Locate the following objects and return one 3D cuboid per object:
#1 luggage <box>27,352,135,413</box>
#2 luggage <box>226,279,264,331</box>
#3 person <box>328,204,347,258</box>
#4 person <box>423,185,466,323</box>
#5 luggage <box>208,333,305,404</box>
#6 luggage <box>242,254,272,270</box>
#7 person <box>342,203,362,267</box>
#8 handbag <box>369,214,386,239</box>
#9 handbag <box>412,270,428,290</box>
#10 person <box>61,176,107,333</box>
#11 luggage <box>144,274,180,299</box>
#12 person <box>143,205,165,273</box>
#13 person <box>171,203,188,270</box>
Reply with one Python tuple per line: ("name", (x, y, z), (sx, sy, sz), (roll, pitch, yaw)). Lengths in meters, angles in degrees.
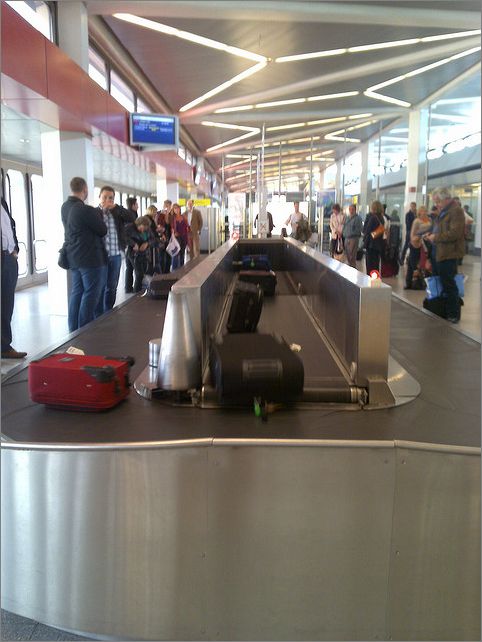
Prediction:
("luggage", (-0.565, 0.153, 1.642), (0.242, 0.202, 0.199), (6, 8, 9))
("luggage", (0.019, -0.086, 2.846), (0.149, 0.391, 0.243), (2, 28, -17))
("person", (2.331, -2.203, 11.549), (0.275, 1.403, 0.353), (3, 37, 17))
("person", (2.313, -0.740, 5.411), (0.424, 1.534, 0.509), (4, 8, 29))
("luggage", (0.044, 0.190, 1.777), (0.316, 0.183, 0.451), (0, 9, -5))
("luggage", (0.192, -0.792, 6.372), (0.341, 0.182, 0.536), (0, 9, -3))
("person", (2.498, -1.954, 10.752), (0.406, 1.435, 1.453), (2, 8, 12))
("handbag", (2.569, -1.817, 9.028), (0.058, 0.269, 0.510), (22, 38, -38))
("handbag", (3.131, -0.699, 8.351), (0.192, 0.605, 0.356), (1, 2, 8))
("person", (-1.599, -0.658, 4.889), (0.401, 1.594, 0.512), (-6, 9, -41))
("luggage", (-0.798, -0.340, 4.750), (0.248, 0.220, 0.565), (2, 14, 0))
("person", (-1.662, -1.570, 9.073), (0.313, 0.425, 1.307), (-5, -3, -6))
("person", (-1.547, -2.204, 12.139), (0.418, 1.597, 1.851), (0, 8, -7))
